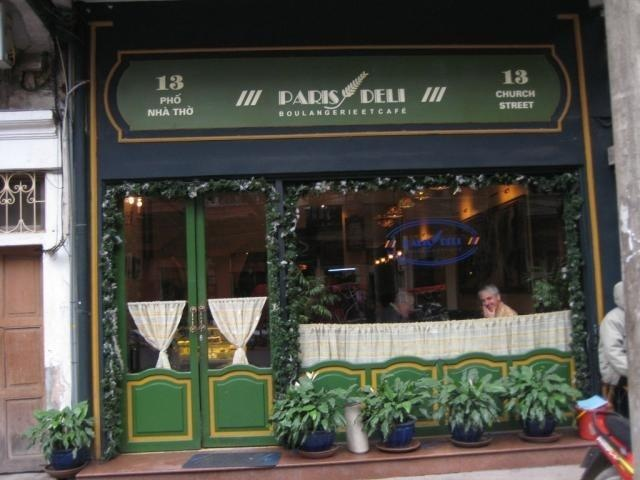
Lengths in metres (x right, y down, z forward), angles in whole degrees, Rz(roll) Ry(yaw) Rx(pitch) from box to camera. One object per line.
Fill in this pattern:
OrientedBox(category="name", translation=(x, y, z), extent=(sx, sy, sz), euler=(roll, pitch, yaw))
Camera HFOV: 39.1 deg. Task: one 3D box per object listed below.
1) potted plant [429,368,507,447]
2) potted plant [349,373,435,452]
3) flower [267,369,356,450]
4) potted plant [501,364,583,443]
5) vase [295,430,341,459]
OrientedBox(category="potted plant", translation=(1.956, 2.153, 11.728), extent=(0.899, 0.956, 0.590), euler=(-5, -3, 11))
OrientedBox(category="potted plant", translation=(0.980, 2.217, 11.615), extent=(0.910, 0.660, 0.881), euler=(-6, -17, 27))
OrientedBox(category="flower", translation=(-0.081, 2.138, 11.646), extent=(0.887, 0.617, 1.044), euler=(-17, 16, -42))
OrientedBox(category="potted plant", translation=(2.858, 2.080, 11.899), extent=(0.940, 0.835, 0.948), euler=(0, -1, -7))
OrientedBox(category="vase", translation=(-0.030, 2.584, 11.560), extent=(0.517, 0.353, 0.253), euler=(-4, -3, -4))
